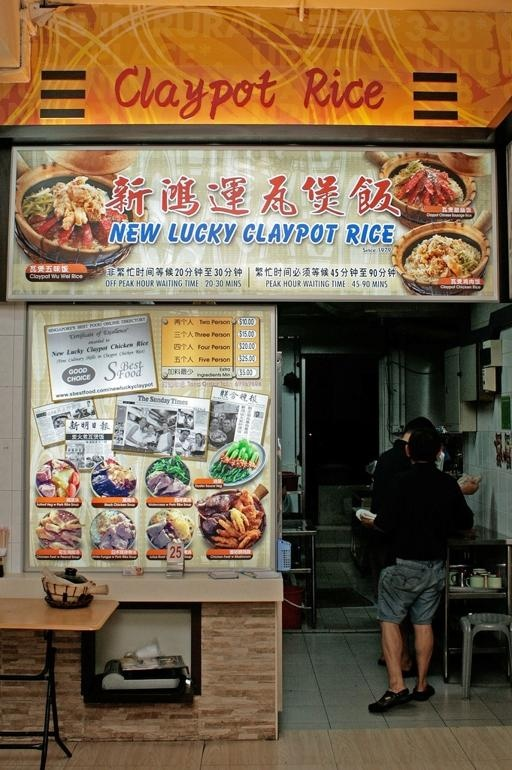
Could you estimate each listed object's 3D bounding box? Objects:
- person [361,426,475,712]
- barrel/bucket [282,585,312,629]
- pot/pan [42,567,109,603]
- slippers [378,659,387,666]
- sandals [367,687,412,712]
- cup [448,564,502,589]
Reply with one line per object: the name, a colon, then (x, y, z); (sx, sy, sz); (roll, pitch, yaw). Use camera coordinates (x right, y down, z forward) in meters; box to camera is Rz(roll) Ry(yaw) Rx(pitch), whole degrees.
person: (0.928, 1.117, 4.273); (0.807, 1.671, 0.385); (-3, 2, -32)
barrel/bucket: (0.321, 1.795, 5.668); (0.209, 0.385, 0.747); (-2, 2, 4)
pot/pan: (-0.876, 0.973, 3.349); (0.241, 0.111, 0.180); (7, -4, 7)
slippers: (0.874, 1.917, 4.814); (0.036, 0.039, 0.108); (0, -2, 4)
sandals: (0.770, 1.825, 4.031); (0.294, 0.120, 0.107); (-2, 2, -21)
cup: (1.478, 1.310, 4.718); (0.255, 0.092, 0.165); (0, -2, -3)
